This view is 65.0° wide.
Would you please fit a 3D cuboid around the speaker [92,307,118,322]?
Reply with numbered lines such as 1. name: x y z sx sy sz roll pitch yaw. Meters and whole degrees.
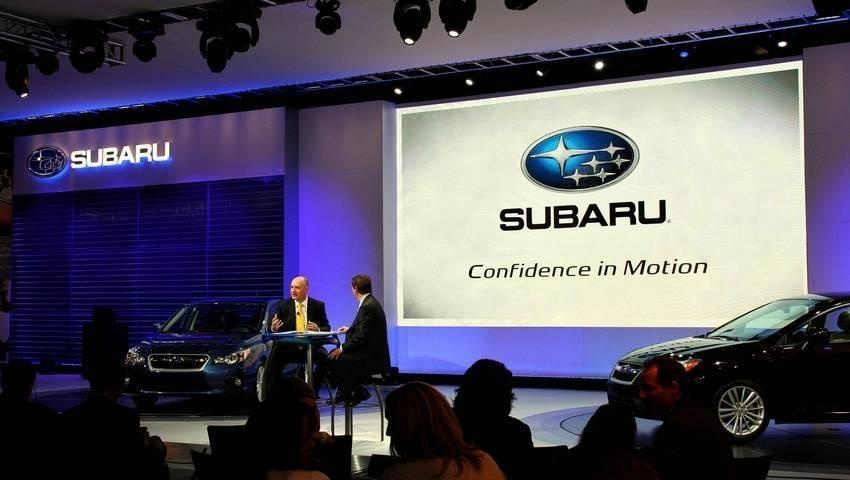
1. speaker: -7.781 1.804 16.267 0.711 0.404 0.352 1 -1 -1

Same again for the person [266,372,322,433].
1. person: -1.466 1.726 6.888 0.775 0.627 0.530 -2 -17 8

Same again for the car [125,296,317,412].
1. car: -4.260 2.093 12.911 2.085 1.299 3.339 -3 -11 7
